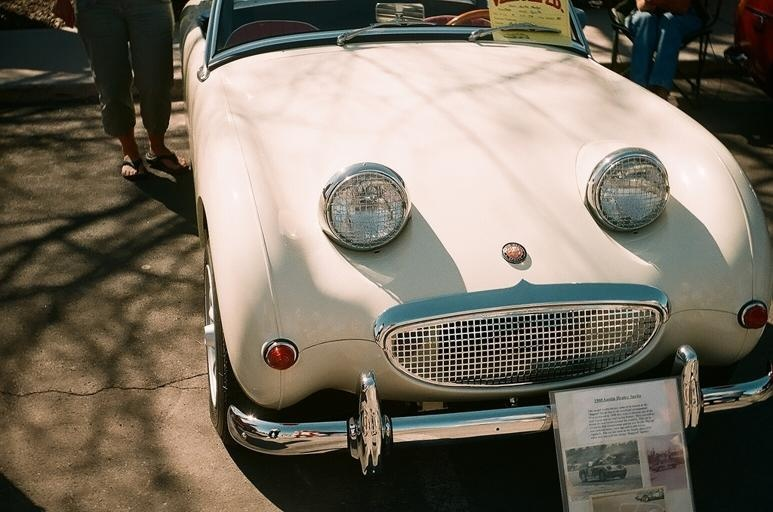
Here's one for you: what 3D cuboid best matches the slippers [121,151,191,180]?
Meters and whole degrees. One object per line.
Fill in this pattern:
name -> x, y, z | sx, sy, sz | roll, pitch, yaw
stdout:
slippers -> -1.937, -0.743, 5.306 | 0.387, 0.141, 0.309 | 19, 38, 9
